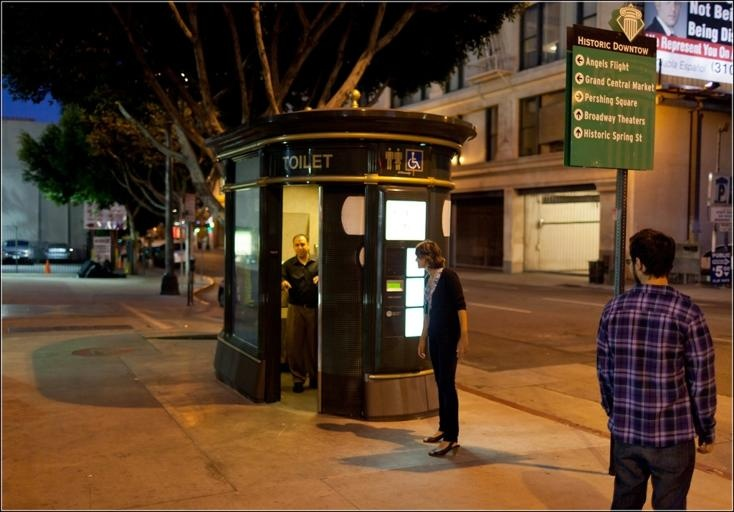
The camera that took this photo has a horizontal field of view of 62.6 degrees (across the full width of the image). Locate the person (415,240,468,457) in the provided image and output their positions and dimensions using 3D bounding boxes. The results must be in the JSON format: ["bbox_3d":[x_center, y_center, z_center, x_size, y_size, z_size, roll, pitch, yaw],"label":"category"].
[{"bbox_3d":[0.829,1.003,6.953,0.568,2.360,0.846,1,1,4],"label":"person"}]

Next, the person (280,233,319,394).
[{"bbox_3d":[-0.995,0.860,8.919,0.502,2.322,0.327,1,2,-10],"label":"person"}]

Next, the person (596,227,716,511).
[{"bbox_3d":[2.196,0.877,4.612,0.814,2.164,0.309,2,2,28],"label":"person"}]

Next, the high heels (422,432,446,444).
[{"bbox_3d":[0.762,2.120,7.054,0.307,0.139,0.109,-2,-6,17],"label":"high heels"}]

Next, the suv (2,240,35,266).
[{"bbox_3d":[-30.653,-0.257,53.047,2.012,2.063,4.208,-1,-5,-29],"label":"suv"}]

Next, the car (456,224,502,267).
[{"bbox_3d":[7.345,-0.596,36.391,2.035,2.539,3.622,-2,4,-22],"label":"car"}]

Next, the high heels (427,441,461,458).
[{"bbox_3d":[0.853,2.120,6.657,0.361,0.188,0.135,2,-3,-10],"label":"high heels"}]
